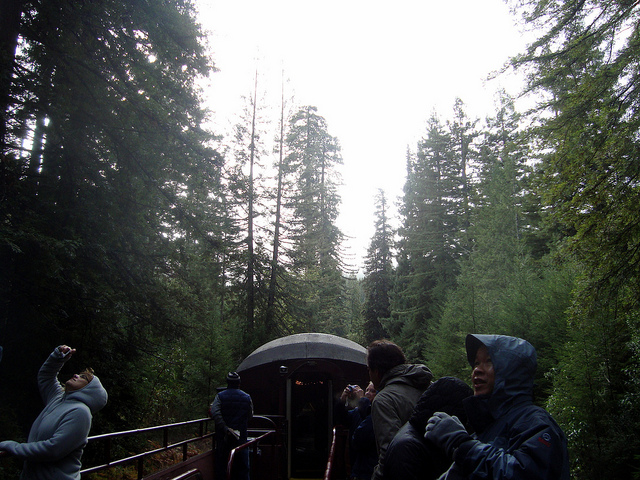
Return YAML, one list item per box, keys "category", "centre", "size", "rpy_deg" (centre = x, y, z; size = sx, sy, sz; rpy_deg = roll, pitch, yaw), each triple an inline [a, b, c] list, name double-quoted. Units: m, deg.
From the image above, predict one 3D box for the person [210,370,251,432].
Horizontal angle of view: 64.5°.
- category: "person"
  centre: [-1.842, 3.402, 10.639]
  size: [0.702, 1.157, 0.567]
  rpy_deg: [-1, -17, 5]

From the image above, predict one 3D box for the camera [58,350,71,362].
- category: "camera"
  centre: [-3.364, 1.546, 6.692]
  size: [0.139, 0.050, 0.097]
  rpy_deg: [-37, 18, -18]

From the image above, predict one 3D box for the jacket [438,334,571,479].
- category: "jacket"
  centre: [1.852, 1.685, 5.116]
  size: [1.065, 1.398, 0.459]
  rpy_deg: [-7, -18, 22]
